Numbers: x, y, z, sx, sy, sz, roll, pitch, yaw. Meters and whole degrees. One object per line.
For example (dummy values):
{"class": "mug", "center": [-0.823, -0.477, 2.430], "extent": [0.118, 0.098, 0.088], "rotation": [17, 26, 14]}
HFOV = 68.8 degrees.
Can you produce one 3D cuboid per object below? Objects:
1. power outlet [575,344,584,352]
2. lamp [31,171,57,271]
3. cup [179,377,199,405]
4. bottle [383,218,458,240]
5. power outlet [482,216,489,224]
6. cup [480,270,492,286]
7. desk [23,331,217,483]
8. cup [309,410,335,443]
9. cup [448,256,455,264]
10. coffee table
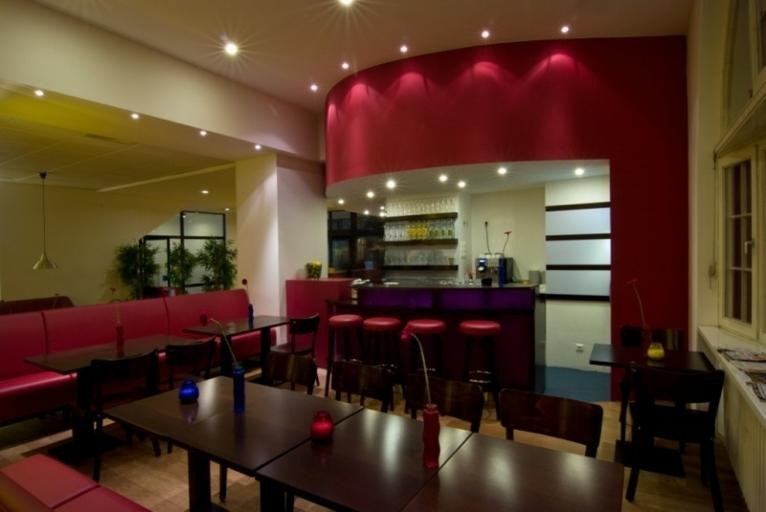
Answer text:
{"class": "power outlet", "center": [3.025, 1.424, 8.616], "extent": [0.107, 0.084, 0.110], "rotation": [-3, -7, 30]}
{"class": "lamp", "center": [-6.892, -0.658, 11.429], "extent": [0.417, 1.934, 0.443], "rotation": [-1, 2, -9]}
{"class": "cup", "center": [-1.972, 1.391, 5.761], "extent": [0.201, 0.222, 0.205], "rotation": [0, -2, 0]}
{"class": "bottle", "center": [0.627, -0.447, 9.897], "extent": [1.391, 0.312, 0.127], "rotation": [-1, 0, 32]}
{"class": "power outlet", "center": [1.812, -0.608, 9.885], "extent": [0.074, 0.143, 0.076], "rotation": [2, -2, 0]}
{"class": "cup", "center": [1.562, 0.338, 8.475], "extent": [0.161, 0.172, 0.305], "rotation": [-1, -6, 12]}
{"class": "desk", "center": [-3.428, 1.942, 6.798], "extent": [0.997, 0.955, 1.907], "rotation": [10, 6, 29]}
{"class": "cup", "center": [-0.555, 1.562, 5.147], "extent": [0.229, 0.241, 0.233], "rotation": [-2, -1, 0]}
{"class": "cup", "center": [1.202, 0.081, 9.729], "extent": [0.111, 0.218, 0.115], "rotation": [3, -1, 0]}
{"class": "coffee table", "center": [3.028, 1.736, 6.346], "extent": [1.351, 1.224, 1.070], "rotation": [0, -7, 24]}
